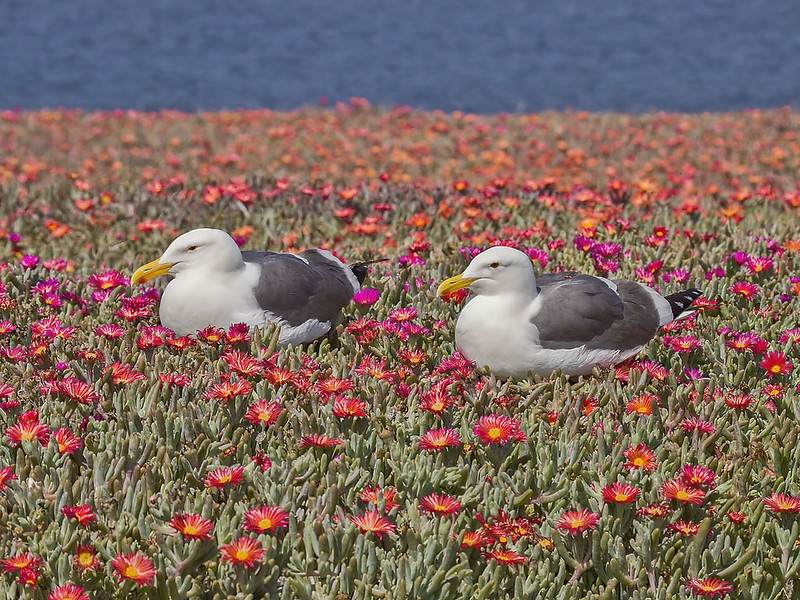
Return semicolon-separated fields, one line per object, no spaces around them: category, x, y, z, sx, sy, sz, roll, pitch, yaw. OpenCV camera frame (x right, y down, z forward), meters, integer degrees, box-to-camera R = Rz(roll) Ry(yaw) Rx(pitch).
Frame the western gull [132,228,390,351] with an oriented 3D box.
western gull;-0.836;-0.127;6.437;1.270;0.688;0.642;-13;13;-17
